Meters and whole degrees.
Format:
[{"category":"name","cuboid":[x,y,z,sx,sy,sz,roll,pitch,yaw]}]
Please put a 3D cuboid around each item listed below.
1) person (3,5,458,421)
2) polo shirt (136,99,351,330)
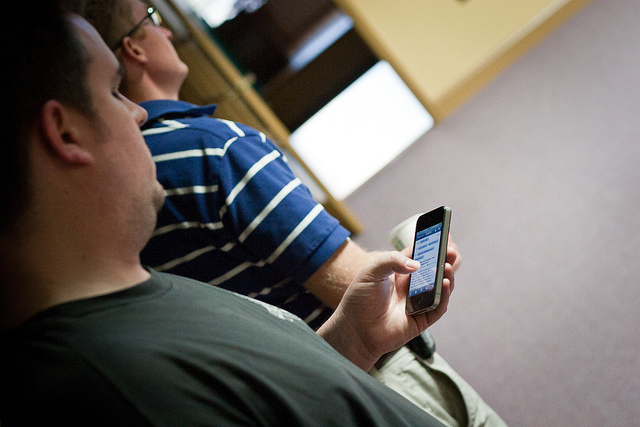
[{"category":"person","cuboid":[-0.290,0.029,1.070,0.819,0.860,0.241,10,-1,-6]},{"category":"polo shirt","cuboid":[-0.202,0.019,1.348,0.548,0.554,0.158,10,-1,1]}]
